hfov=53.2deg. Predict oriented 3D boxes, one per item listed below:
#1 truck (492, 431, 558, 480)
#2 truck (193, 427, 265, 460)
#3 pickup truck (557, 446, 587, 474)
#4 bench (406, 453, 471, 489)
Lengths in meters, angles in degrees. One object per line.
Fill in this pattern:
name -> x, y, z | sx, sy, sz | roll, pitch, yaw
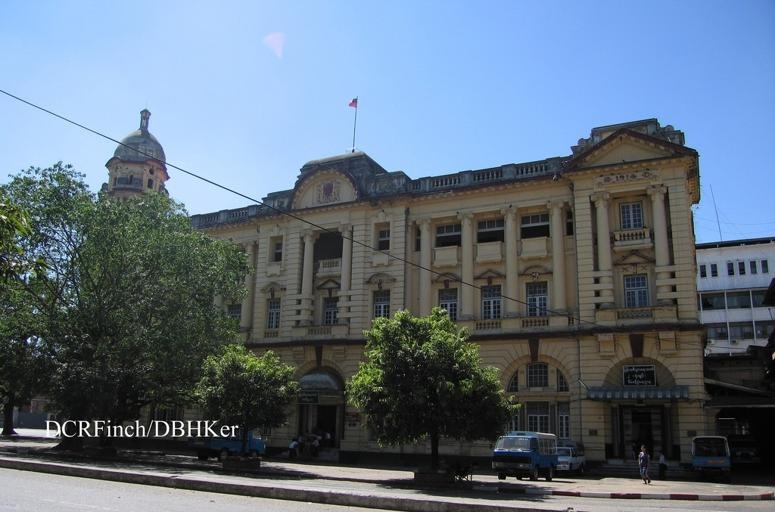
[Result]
truck -> 8.659, 12.425, 48.124 | 2.565, 2.255, 4.150 | -11, -23, 27
truck -> -10.987, 13.236, 54.515 | 2.916, 2.070, 4.896 | -7, -18, 24
pickup truck -> 11.917, 13.264, 50.790 | 0.817, 1.782, 2.827 | -11, -20, 32
bench -> 3.029, 12.132, 43.273 | 3.107, 1.436, 1.872 | 1, -16, -3
